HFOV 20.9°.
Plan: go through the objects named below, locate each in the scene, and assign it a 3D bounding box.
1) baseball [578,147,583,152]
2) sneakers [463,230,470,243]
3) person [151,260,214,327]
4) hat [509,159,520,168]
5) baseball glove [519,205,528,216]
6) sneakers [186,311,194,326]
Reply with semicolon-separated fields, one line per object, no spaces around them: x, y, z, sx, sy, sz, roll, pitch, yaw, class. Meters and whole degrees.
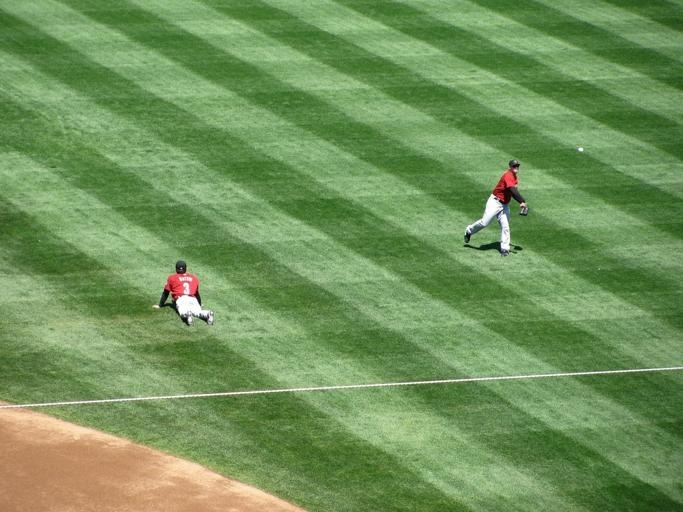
5.326;-2.364;41.327;0.141;0.072;0.155;9;17;4;baseball
2.585;-0.358;38.126;0.105;0.121;0.269;33;-14;10;sneakers
-3.061;0.887;36.005;1.041;0.758;1.778;-10;37;-14;person
3.472;-1.843;37.558;0.177;0.109;0.236;-25;10;-41;hat
3.658;-0.867;37.299;0.187;0.087;0.231;2;35;16;baseball glove
-2.921;1.240;35.824;0.142;0.285;0.293;11;18;3;sneakers
